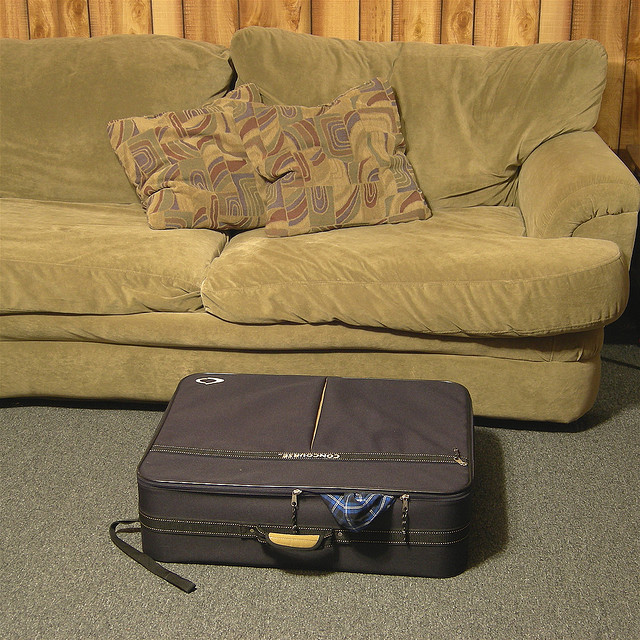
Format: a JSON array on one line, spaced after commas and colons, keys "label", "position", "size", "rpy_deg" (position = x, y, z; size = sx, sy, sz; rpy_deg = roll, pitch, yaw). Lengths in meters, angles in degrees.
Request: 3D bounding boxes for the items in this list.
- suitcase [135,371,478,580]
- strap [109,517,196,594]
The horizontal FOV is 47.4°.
[{"label": "suitcase", "position": [-0.015, 0.309, 1.504], "size": [0.647, 0.237, 0.403], "rpy_deg": [2, 26, 6]}, {"label": "strap", "position": [-0.322, 0.440, 1.370], "size": [0.193, 0.113, 0.020], "rpy_deg": [7, 40, 41]}]
